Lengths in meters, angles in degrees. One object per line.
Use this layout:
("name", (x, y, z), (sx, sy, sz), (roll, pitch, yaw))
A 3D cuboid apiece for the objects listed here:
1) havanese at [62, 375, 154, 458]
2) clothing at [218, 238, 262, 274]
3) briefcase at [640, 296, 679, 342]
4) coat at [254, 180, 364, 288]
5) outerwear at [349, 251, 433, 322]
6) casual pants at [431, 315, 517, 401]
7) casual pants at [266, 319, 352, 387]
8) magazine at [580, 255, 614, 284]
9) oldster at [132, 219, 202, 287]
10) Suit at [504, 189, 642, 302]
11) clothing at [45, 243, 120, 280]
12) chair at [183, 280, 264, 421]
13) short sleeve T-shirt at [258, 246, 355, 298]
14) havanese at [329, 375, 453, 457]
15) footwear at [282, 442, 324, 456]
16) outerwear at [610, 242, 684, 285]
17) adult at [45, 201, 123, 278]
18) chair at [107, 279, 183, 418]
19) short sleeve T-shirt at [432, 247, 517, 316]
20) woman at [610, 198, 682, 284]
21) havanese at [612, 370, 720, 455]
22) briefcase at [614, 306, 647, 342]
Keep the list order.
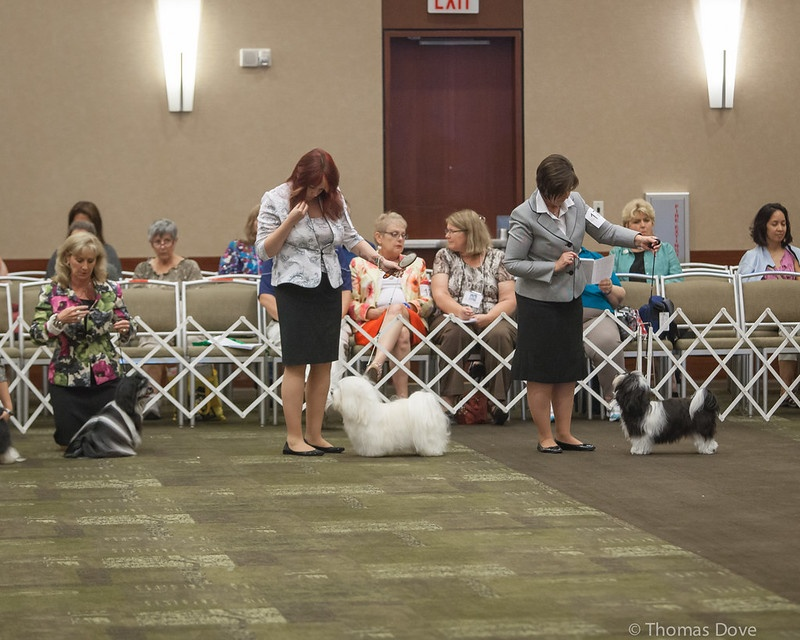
("havanese", (-1.632, 0.544, 5.623), (0.329, 0.475, 0.456), (7, 6, 35))
("clothing", (-1.201, -0.440, 7.481), (0.433, 0.276, 0.241), (1, -4, -16))
("briefcase", (1.739, 0.010, 6.798), (0.260, 0.324, 0.310), (-15, -9, 9))
("coat", (-0.463, -0.455, 5.375), (0.691, 0.610, 0.331), (-1, 2, -27))
("outerwear", (-0.100, -0.223, 7.046), (0.761, 0.612, 0.411), (0, -14, -7))
("casual pants", (0.528, 0.242, 6.906), (0.560, 0.539, 0.126), (4, 8, 3))
("casual pants", (-0.454, 0.215, 6.546), (0.489, 0.464, 0.117), (-2, -19, -3))
("magazine", (1.083, -0.285, 5.434), (0.153, 0.122, 0.211), (-14, 6, 1))
("oldster", (-1.719, -0.481, 7.329), (0.561, 0.477, 0.305), (-1, 0, 5))
("Suit", (0.900, -0.404, 5.386), (0.659, 0.610, 0.265), (-1, 4, -14))
("clothing", (-1.963, -0.362, 6.186), (0.460, 0.394, 0.234), (0, -3, -13))
("chair", (-1.165, 0.193, 6.660), (0.539, 0.918, 0.572), (-1, 3, -13))
("short sleeve T-shirt", (-0.658, -0.302, 6.342), (0.434, 0.298, 0.425), (-1, 0, 3))
("havanese", (-0.077, 0.549, 5.579), (0.693, 0.423, 0.373), (3, 4, -23))
("footwear", (-0.546, 0.721, 5.549), (0.221, 0.085, 0.081), (-2, -3, 13))
("outerwear", (1.792, -0.409, 7.273), (0.396, 0.343, 0.214), (-1, -7, 1))
("adult", (-2.423, -0.482, 7.646), (0.669, 0.785, 0.456), (-2, 3, -10))
("chair", (-1.790, 0.211, 6.868), (0.577, 0.818, 0.557), (-12, -3, 10))
("short sleeve T-shirt", (0.504, -0.287, 6.988), (0.538, 0.473, 0.288), (7, -4, -11))
("woman", (1.920, -0.555, 7.835), (0.590, 0.798, 0.669), (-3, 3, -14))
("havanese", (1.522, 0.555, 5.758), (0.466, 0.346, 0.211), (-1, -5, -10))
("briefcase", (1.542, 0.022, 6.676), (0.196, 0.249, 0.259), (-2, -8, 44))
